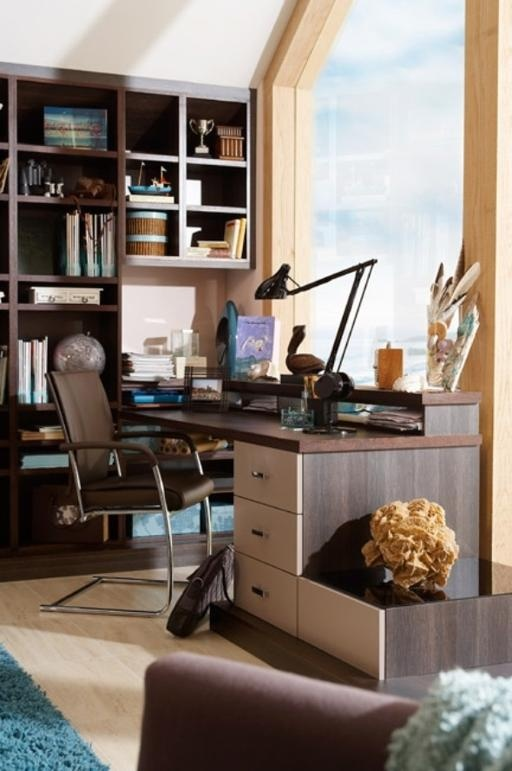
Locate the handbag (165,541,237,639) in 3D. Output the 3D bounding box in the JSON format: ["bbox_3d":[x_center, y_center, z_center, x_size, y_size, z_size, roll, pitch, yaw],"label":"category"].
[{"bbox_3d":[-0.216,0.797,2.735,0.128,0.272,0.274,30,27,10],"label":"handbag"}]

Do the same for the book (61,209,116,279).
[{"bbox_3d":[-0.874,-0.722,3.759,0.346,0.409,0.290,1,0,-23],"label":"book"}]

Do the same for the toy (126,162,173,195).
[{"bbox_3d":[-0.599,-1.132,3.987,0.249,0.221,0.334,0,-1,-11],"label":"toy"}]

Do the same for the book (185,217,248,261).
[{"bbox_3d":[-0.238,-0.809,4.047,0.282,0.178,0.280,-2,6,-14],"label":"book"}]

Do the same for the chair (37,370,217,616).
[{"bbox_3d":[-0.538,0.434,3.088,0.667,0.975,0.693,0,1,-8],"label":"chair"}]

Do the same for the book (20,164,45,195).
[{"bbox_3d":[-1.138,-1.052,3.620,0.054,0.202,0.150,-1,-2,35],"label":"book"}]

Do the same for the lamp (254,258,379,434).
[{"bbox_3d":[0.194,-0.150,2.712,0.144,0.637,0.692,4,-1,-31],"label":"lamp"}]

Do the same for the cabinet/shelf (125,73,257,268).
[{"bbox_3d":[-0.384,-1.146,4.036,0.711,1.002,0.591,0,-1,-10],"label":"cabinet/shelf"}]
